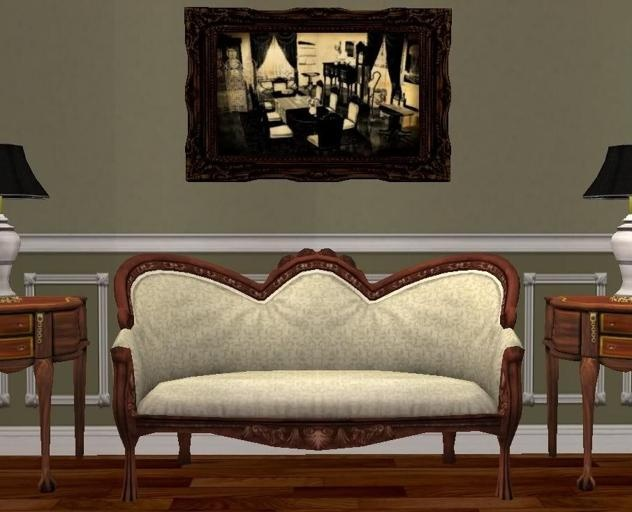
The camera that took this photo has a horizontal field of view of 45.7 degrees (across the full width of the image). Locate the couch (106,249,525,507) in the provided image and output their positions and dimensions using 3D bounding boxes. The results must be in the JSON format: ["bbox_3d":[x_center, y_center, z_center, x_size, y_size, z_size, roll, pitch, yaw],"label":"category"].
[{"bbox_3d":[0.025,0.742,4.640,2.356,1.478,0.990,0,4,-4],"label":"couch"}]
